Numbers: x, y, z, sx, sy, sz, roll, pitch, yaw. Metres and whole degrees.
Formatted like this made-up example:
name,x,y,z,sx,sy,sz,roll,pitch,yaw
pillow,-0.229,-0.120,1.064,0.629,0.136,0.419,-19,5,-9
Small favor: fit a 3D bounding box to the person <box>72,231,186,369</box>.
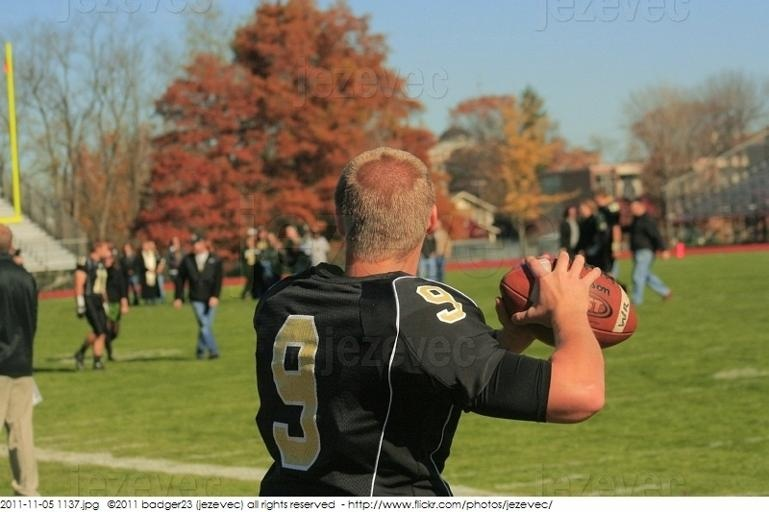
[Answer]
name,x,y,z,sx,sy,sz,roll,pitch,yaw
person,-3.707,0.637,19.528,0.540,1.630,0.980,0,-1,7
